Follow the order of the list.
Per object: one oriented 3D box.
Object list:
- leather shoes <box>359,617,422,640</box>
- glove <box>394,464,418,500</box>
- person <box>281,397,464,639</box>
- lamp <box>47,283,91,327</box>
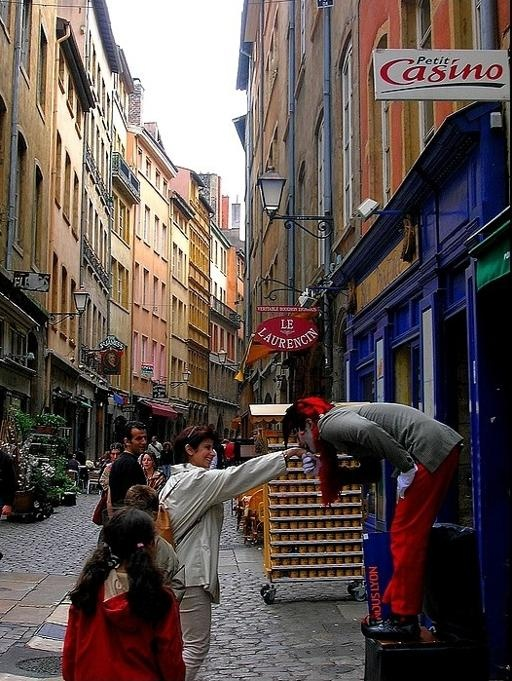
[{"bbox_3d":[0.645,1.356,3.749,0.275,0.149,0.115,5,-14,0],"label":"leather shoes"},{"bbox_3d":[0.738,0.688,3.887,0.096,0.174,0.100,14,0,4],"label":"glove"},{"bbox_3d":[0.627,0.831,3.979,0.792,1.219,0.574,-13,-9,42],"label":"person"},{"bbox_3d":[-6.972,-1.342,28.572,1.529,2.092,0.670,-1,-7,7],"label":"lamp"}]
